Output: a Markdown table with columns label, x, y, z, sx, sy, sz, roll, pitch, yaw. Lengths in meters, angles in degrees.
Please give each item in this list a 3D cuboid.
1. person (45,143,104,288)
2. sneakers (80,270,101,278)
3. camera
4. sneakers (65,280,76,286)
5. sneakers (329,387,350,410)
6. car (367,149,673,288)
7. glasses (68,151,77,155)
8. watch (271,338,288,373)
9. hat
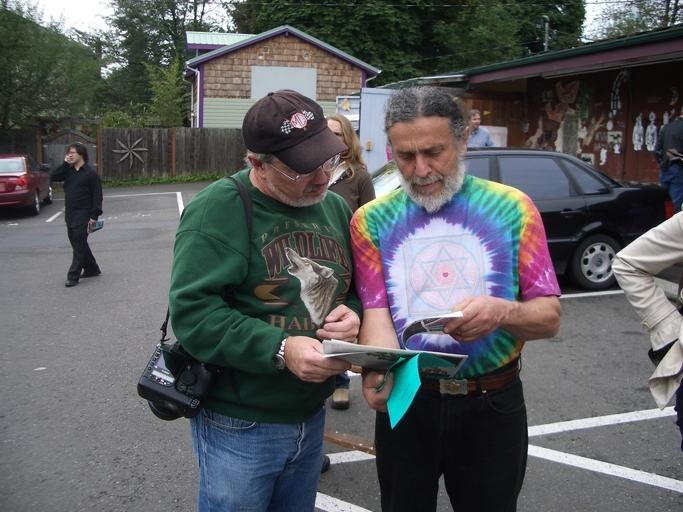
| label | x | y | z | sx | sy | sz | roll | pitch | yaw |
| --- | --- | --- | --- | --- | --- | --- | --- | --- | --- |
| person | -4.509 | -0.785 | 9.013 | 0.752 | 2.243 | 1.524 | -7 | 14 | -28 |
| sneakers | -4.347 | 0.307 | 9.065 | 0.352 | 0.174 | 0.123 | 1 | 1 | -23 |
| camera | -0.709 | 0.513 | 2.235 | 0.345 | 0.107 | 0.363 | 8 | 32 | -36 |
| sneakers | -4.375 | 0.428 | 8.463 | 0.179 | 0.090 | 0.121 | -7 | 15 | -28 |
| sneakers | -0.026 | 1.245 | 4.697 | 0.155 | 0.205 | 0.469 | 0 | -7 | -1 |
| car | 2.628 | -0.561 | 7.982 | 4.272 | 1.618 | 2.036 | -4 | 8 | -10 |
| glasses | -4.613 | -1.775 | 8.994 | 0.137 | 0.091 | 0.038 | 2 | 12 | 9 |
| watch | -0.242 | 0.383 | 2.051 | 0.053 | 0.120 | 0.045 | -1 | 12 | -4 |
| hat | -0.227 | -0.580 | 2.291 | 0.385 | 0.253 | 0.551 | -29 | 36 | -29 |
